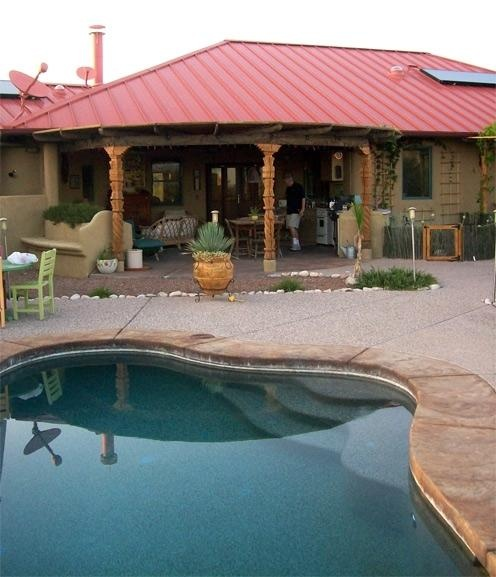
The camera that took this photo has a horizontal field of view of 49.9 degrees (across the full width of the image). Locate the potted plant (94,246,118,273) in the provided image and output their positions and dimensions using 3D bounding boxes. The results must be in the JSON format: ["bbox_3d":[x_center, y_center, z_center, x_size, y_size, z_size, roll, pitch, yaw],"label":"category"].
[{"bbox_3d":[-3.225,-0.662,12.312,0.537,0.696,0.544,0,3,-40],"label":"potted plant"}]

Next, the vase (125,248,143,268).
[{"bbox_3d":[-2.654,-0.732,12.825,0.426,0.432,0.423,3,7,13],"label":"vase"}]

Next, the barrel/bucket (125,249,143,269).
[{"bbox_3d":[-2.716,-0.726,12.791,0.439,0.444,0.436,1,8,0],"label":"barrel/bucket"}]

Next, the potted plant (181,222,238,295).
[{"bbox_3d":[-0.566,-0.430,9.046,0.692,1.123,0.752,-2,-3,22],"label":"potted plant"}]

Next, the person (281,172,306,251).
[{"bbox_3d":[1.463,-2.347,16.294,0.563,2.290,1.035,-2,10,5],"label":"person"}]
